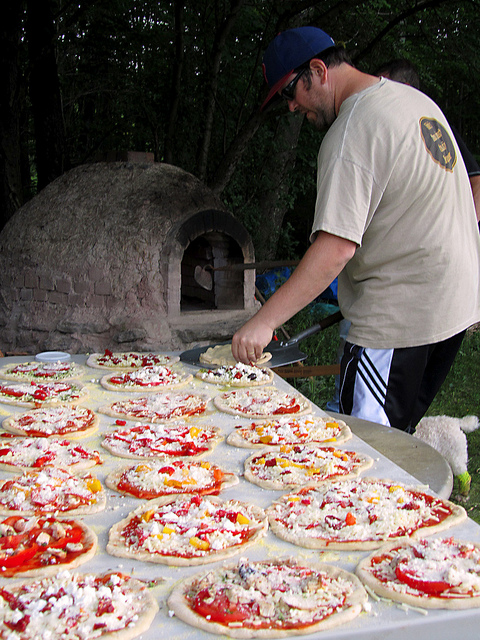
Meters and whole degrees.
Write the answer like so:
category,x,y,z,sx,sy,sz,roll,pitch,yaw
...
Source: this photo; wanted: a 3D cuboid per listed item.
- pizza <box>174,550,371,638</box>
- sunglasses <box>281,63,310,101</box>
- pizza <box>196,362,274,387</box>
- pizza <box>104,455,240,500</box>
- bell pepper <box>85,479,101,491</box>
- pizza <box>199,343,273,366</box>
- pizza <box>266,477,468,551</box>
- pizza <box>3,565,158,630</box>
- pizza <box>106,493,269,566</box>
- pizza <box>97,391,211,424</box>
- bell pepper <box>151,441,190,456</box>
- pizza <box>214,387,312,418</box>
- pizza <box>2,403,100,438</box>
category,x,y,z,sx,sy,sz,roll,pitch,yaw
pizza,0.051,0.457,0.910,0.318,0.022,0.232,-2,6,-22
sunglasses,0.199,-0.903,2.058,0.089,0.024,0.089,-38,3,-11
pizza,-0.022,0.237,2.532,0.366,0.085,0.306,0,5,-2
pizza,-0.183,0.376,1.438,0.254,0.059,0.242,-7,9,-42
bell pepper,-0.365,0.415,1.374,0.026,0.026,0.024,-12,13,-10
pizza,-0.033,0.160,2.802,0.322,0.109,0.261,3,11,44
pizza,0.274,0.425,1.238,0.433,0.047,0.330,0,5,-6
pizza,-0.262,0.456,0.892,0.244,0.030,0.201,-1,5,-14
pizza,-0.102,0.421,1.171,0.267,0.057,0.298,-4,6,13
pizza,-0.328,0.334,2.120,0.405,0.039,0.351,2,5,14
bell pepper,-0.210,0.389,1.648,0.115,0.025,0.066,0,5,-9
pizza,0.096,0.289,2.106,0.328,0.069,0.293,-3,9,-37
pizza,-0.668,0.361,1.938,0.325,0.029,0.343,-1,5,-16
